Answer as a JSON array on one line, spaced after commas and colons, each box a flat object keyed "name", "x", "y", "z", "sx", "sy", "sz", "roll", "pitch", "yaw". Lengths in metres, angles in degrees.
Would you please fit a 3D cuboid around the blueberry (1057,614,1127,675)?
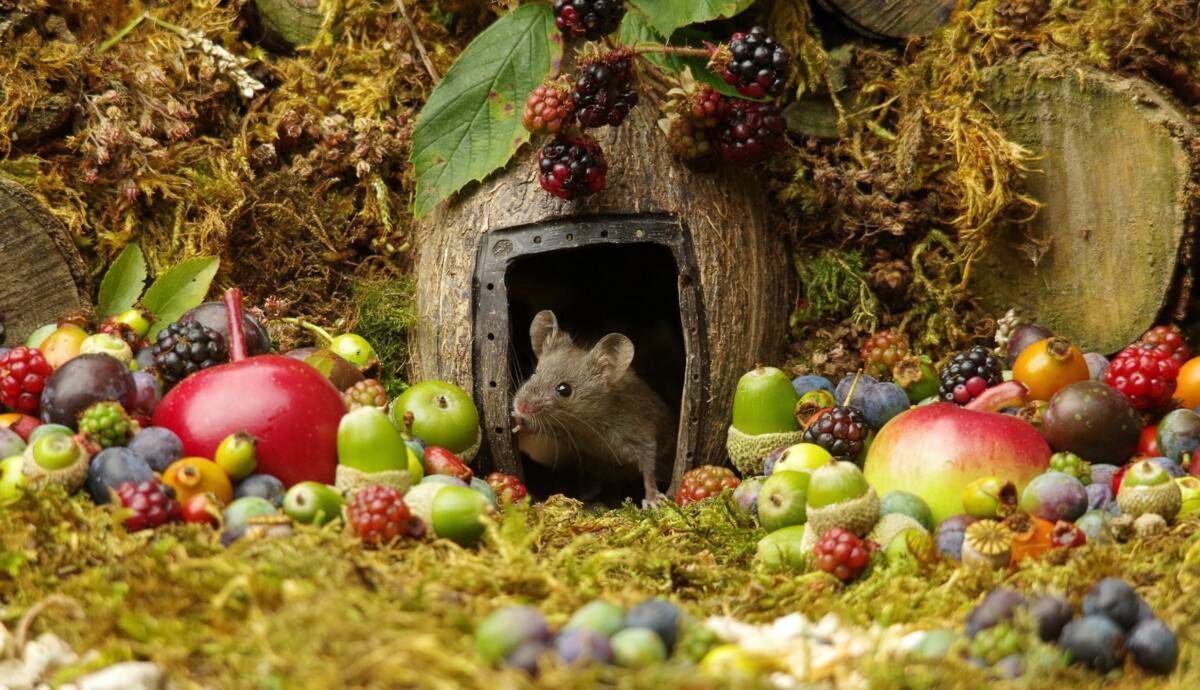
[{"name": "blueberry", "x": 1.935, "y": 1.196, "z": 5.084, "sx": 0.252, "sy": 0.213, "sz": 0.074, "roll": -1, "pitch": 9, "yaw": -2}]

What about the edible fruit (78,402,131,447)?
[{"name": "edible fruit", "x": -2.187, "y": 0.364, "z": 5.688, "sx": 0.166, "sy": 0.164, "sz": 0.218, "roll": 30, "pitch": -35, "yaw": -35}]

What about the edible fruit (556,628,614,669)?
[{"name": "edible fruit", "x": -0.070, "y": 1.132, "z": 4.777, "sx": 0.163, "sy": 0.094, "sz": 0.123, "roll": 15, "pitch": -11, "yaw": 4}]

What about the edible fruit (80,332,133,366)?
[{"name": "edible fruit", "x": -2.307, "y": 0.019, "z": 6.019, "sx": 0.162, "sy": 0.106, "sz": 0.177, "roll": 19, "pitch": 4, "yaw": 8}]

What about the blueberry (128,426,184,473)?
[{"name": "blueberry", "x": -1.951, "y": 0.462, "z": 5.698, "sx": 0.216, "sy": 0.160, "sz": 0.163, "roll": 11, "pitch": 13, "yaw": -10}]

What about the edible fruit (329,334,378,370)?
[{"name": "edible fruit", "x": -1.289, "y": 0.025, "z": 6.723, "sx": 0.211, "sy": 0.161, "sz": 0.168, "roll": 24, "pitch": 8, "yaw": 12}]

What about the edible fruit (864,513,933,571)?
[{"name": "edible fruit", "x": 1.285, "y": 0.869, "z": 5.631, "sx": 0.242, "sy": 0.196, "sz": 0.195, "roll": 3, "pitch": -9, "yaw": -16}]

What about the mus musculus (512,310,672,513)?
[{"name": "mus musculus", "x": -0.028, "y": 0.393, "z": 7.573, "sx": 0.849, "sy": 1.476, "sz": 0.581, "roll": -3, "pitch": 1, "yaw": 8}]

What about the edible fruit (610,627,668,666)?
[{"name": "edible fruit", "x": 0.137, "y": 1.152, "z": 4.809, "sx": 0.169, "sy": 0.143, "sz": 0.134, "roll": 0, "pitch": 10, "yaw": -7}]

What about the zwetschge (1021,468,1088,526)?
[{"name": "zwetschge", "x": 2.014, "y": 0.692, "z": 5.751, "sx": 0.234, "sy": 0.178, "sz": 0.220, "roll": -3, "pitch": -10, "yaw": -7}]

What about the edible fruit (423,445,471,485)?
[{"name": "edible fruit", "x": -0.736, "y": 0.570, "z": 6.079, "sx": 0.216, "sy": 0.075, "sz": 0.126, "roll": 40, "pitch": 56, "yaw": 19}]

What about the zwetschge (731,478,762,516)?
[{"name": "zwetschge", "x": 0.686, "y": 0.762, "z": 6.212, "sx": 0.153, "sy": 0.183, "sz": 0.151, "roll": 11, "pitch": -20, "yaw": -5}]

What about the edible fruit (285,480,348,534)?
[{"name": "edible fruit", "x": -1.317, "y": 0.726, "z": 5.722, "sx": 0.198, "sy": 0.187, "sz": 0.334, "roll": 6, "pitch": -20, "yaw": 0}]

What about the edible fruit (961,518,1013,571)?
[{"name": "edible fruit", "x": 1.669, "y": 0.902, "z": 5.595, "sx": 0.210, "sy": 0.203, "sz": 0.208, "roll": 12, "pitch": 38, "yaw": 14}]

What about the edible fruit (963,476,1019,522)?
[{"name": "edible fruit", "x": 1.723, "y": 0.685, "z": 5.770, "sx": 0.215, "sy": 0.230, "sz": 0.184, "roll": -2, "pitch": 8, "yaw": 3}]

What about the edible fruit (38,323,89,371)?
[{"name": "edible fruit", "x": -2.574, "y": 0.003, "z": 6.138, "sx": 0.176, "sy": 0.235, "sz": 0.135, "roll": 44, "pitch": -14, "yaw": 37}]

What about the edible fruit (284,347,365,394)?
[{"name": "edible fruit", "x": -1.388, "y": 0.103, "z": 6.441, "sx": 0.293, "sy": 0.166, "sz": 0.233, "roll": 22, "pitch": 11, "yaw": 22}]

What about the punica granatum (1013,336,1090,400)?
[{"name": "punica granatum", "x": 2.195, "y": 0.126, "z": 6.382, "sx": 0.325, "sy": 0.336, "sz": 0.384, "roll": 0, "pitch": -19, "yaw": 8}]

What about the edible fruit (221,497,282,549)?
[{"name": "edible fruit", "x": -1.517, "y": 0.768, "z": 5.583, "sx": 0.195, "sy": 0.190, "sz": 0.233, "roll": 0, "pitch": 28, "yaw": 4}]

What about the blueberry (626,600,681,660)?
[{"name": "blueberry", "x": 0.194, "y": 1.104, "z": 4.877, "sx": 0.125, "sy": 0.121, "sz": 0.145, "roll": 37, "pitch": 2, "yaw": -45}]

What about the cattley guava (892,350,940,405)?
[{"name": "cattley guava", "x": 1.617, "y": 0.176, "z": 6.668, "sx": 0.240, "sy": 0.266, "sz": 0.240, "roll": -6, "pitch": 8, "yaw": 38}]

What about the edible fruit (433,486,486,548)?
[{"name": "edible fruit", "x": -0.622, "y": 0.766, "z": 5.624, "sx": 0.273, "sy": 0.213, "sz": 0.209, "roll": 5, "pitch": -1, "yaw": 10}]

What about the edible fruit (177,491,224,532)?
[{"name": "edible fruit", "x": -1.722, "y": 0.733, "z": 5.563, "sx": 0.181, "sy": 0.150, "sz": 0.149, "roll": 3, "pitch": -38, "yaw": 3}]

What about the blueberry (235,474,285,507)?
[{"name": "blueberry", "x": -1.503, "y": 0.649, "z": 5.696, "sx": 0.190, "sy": 0.154, "sz": 0.150, "roll": 3, "pitch": 48, "yaw": -13}]

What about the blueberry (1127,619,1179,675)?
[{"name": "blueberry", "x": 2.236, "y": 1.248, "z": 5.154, "sx": 0.168, "sy": 0.184, "sz": 0.186, "roll": 0, "pitch": -20, "yaw": -5}]

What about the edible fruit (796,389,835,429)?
[{"name": "edible fruit", "x": 1.039, "y": 0.316, "z": 6.448, "sx": 0.155, "sy": 0.199, "sz": 0.156, "roll": 28, "pitch": -21, "yaw": 14}]

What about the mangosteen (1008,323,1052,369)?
[{"name": "mangosteen", "x": 2.178, "y": -0.018, "z": 6.673, "sx": 0.171, "sy": 0.227, "sz": 0.181, "roll": 31, "pitch": 0, "yaw": 43}]
